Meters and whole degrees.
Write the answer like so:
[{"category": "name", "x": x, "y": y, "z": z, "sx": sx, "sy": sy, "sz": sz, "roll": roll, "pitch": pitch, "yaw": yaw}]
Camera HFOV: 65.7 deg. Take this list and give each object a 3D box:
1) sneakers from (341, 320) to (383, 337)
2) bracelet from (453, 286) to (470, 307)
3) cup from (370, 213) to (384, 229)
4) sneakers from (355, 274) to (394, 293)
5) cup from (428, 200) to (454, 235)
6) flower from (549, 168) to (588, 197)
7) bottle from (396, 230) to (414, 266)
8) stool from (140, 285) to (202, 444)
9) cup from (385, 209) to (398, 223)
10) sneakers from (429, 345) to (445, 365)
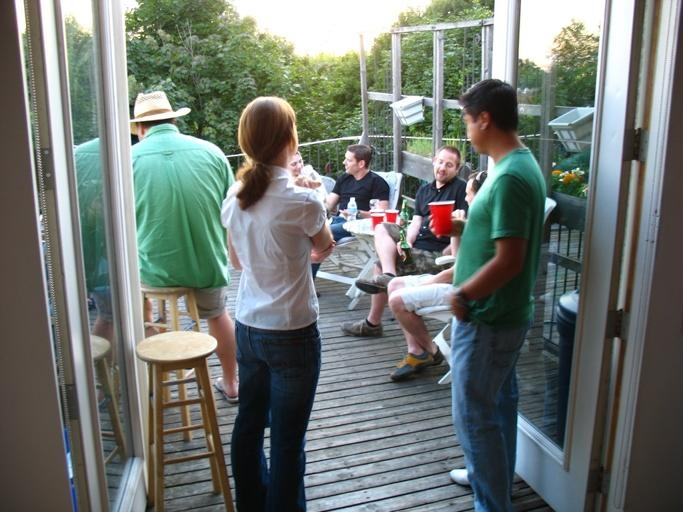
[{"category": "sneakers", "x": 0.185, "y": 0.676, "z": 4.831, "sx": 0.352, "sy": 0.162, "sz": 0.155, "roll": 5, "pitch": 0, "yaw": 8}, {"category": "bracelet", "x": 0.507, "y": 0.175, "z": 2.239, "sx": 0.063, "sy": 0.064, "sz": 0.065, "roll": -8, "pitch": 7, "yaw": -3}, {"category": "cup", "x": 0.330, "y": -0.317, "z": 4.977, "sx": 0.115, "sy": 0.121, "sz": 0.122, "roll": 1, "pitch": 9, "yaw": 0}, {"category": "sneakers", "x": 0.258, "y": 0.217, "z": 4.319, "sx": 0.347, "sy": 0.158, "sz": 0.128, "roll": 4, "pitch": -16, "yaw": -2}, {"category": "cup", "x": 0.522, "y": -0.203, "z": 2.803, "sx": 0.153, "sy": 0.171, "sz": 0.162, "roll": -2, "pitch": 4, "yaw": 0}, {"category": "flower", "x": 1.139, "y": -0.368, "z": 2.652, "sx": 0.128, "sy": 0.086, "sz": 0.132, "roll": -5, "pitch": 26, "yaw": -18}, {"category": "bottle", "x": 0.557, "y": -0.056, "z": 4.695, "sx": 0.124, "sy": 0.383, "sz": 0.157, "roll": -12, "pitch": 23, "yaw": 2}, {"category": "stool", "x": -1.148, "y": 0.683, "z": 3.740, "sx": 0.566, "sy": 0.952, "sz": 0.552, "roll": -9, "pitch": 7, "yaw": -22}, {"category": "cup", "x": 0.473, "y": -0.364, "z": 4.934, "sx": 0.108, "sy": 0.089, "sz": 0.112, "roll": 1, "pitch": 4, "yaw": 0}, {"category": "sneakers", "x": 0.757, "y": 0.796, "z": 4.233, "sx": 0.073, "sy": 0.107, "sz": 0.225, "roll": -1, "pitch": 15, "yaw": 10}]
